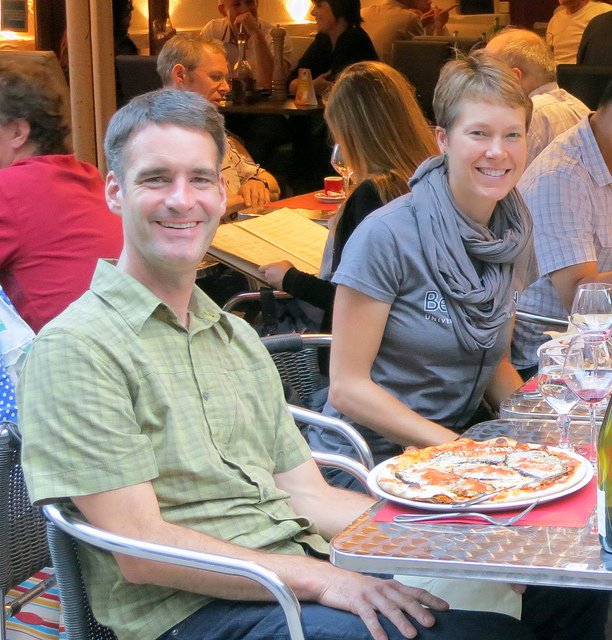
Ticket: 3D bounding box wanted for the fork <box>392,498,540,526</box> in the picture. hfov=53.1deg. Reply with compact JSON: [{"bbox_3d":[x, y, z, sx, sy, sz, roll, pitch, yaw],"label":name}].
[{"bbox_3d":[0.214,0.258,0.820,0.196,0.026,0.060,-1,5,2],"label":"fork"}]
